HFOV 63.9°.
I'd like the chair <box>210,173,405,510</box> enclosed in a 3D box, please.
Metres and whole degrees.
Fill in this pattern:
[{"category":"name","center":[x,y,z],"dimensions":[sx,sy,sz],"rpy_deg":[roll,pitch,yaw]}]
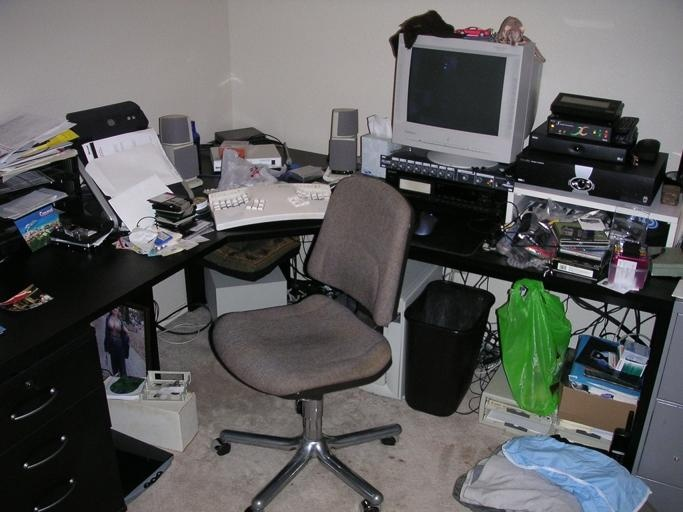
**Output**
[{"category":"chair","center":[-0.127,0.380,2.275],"dimensions":[0.808,1.209,0.839],"rpy_deg":[-14,30,-37]}]

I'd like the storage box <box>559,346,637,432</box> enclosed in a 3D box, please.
[{"category":"storage box","center":[1.102,0.589,2.383],"dimensions":[0.207,0.140,0.221],"rpy_deg":[16,18,17]}]

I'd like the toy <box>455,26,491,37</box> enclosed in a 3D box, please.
[{"category":"toy","center":[0.562,-0.944,2.318],"dimensions":[0.111,0.034,0.133],"rpy_deg":[-17,32,-35]}]

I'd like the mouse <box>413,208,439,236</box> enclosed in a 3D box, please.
[{"category":"mouse","center":[0.350,-0.131,2.352],"dimensions":[0.105,0.084,0.106],"rpy_deg":[20,68,5]}]

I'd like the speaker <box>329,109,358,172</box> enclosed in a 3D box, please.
[{"category":"speaker","center":[0.013,-0.571,2.729],"dimensions":[0.129,0.301,0.119],"rpy_deg":[5,25,7]}]

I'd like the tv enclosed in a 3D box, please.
[{"category":"tv","center":[0.574,-0.714,2.579],"dimensions":[0.697,0.597,0.526],"rpy_deg":[15,36,25]}]
